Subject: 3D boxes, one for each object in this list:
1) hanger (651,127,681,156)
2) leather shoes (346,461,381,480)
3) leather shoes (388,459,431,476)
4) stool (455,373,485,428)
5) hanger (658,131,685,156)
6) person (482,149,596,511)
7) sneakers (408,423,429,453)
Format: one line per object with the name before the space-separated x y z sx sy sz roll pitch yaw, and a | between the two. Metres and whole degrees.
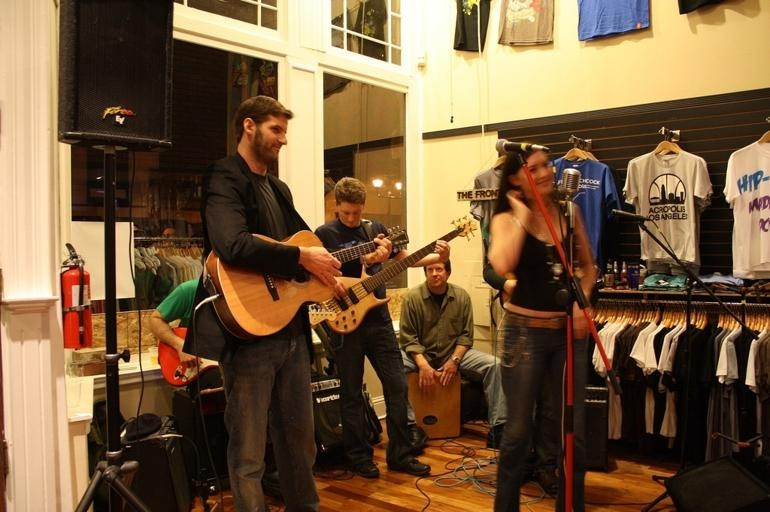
hanger | 2.464 -0.994 5.724 0.161 0.275 0.293 0 -1 -27
leather shoes | -0.157 1.669 5.057 0.208 0.090 0.100 -7 -9 35
leather shoes | 0.195 1.639 5.117 0.312 0.136 0.119 0 -5 8
stool | 0.754 1.276 5.849 0.276 0.445 0.509 -3 -6 37
hanger | 2.496 -0.974 5.688 0.128 0.228 0.235 0 -2 -29
person | 0.882 0.488 3.716 0.623 2.142 0.517 -2 3 18
sneakers | 0.276 1.516 5.437 0.075 0.213 0.166 -15 -30 31
